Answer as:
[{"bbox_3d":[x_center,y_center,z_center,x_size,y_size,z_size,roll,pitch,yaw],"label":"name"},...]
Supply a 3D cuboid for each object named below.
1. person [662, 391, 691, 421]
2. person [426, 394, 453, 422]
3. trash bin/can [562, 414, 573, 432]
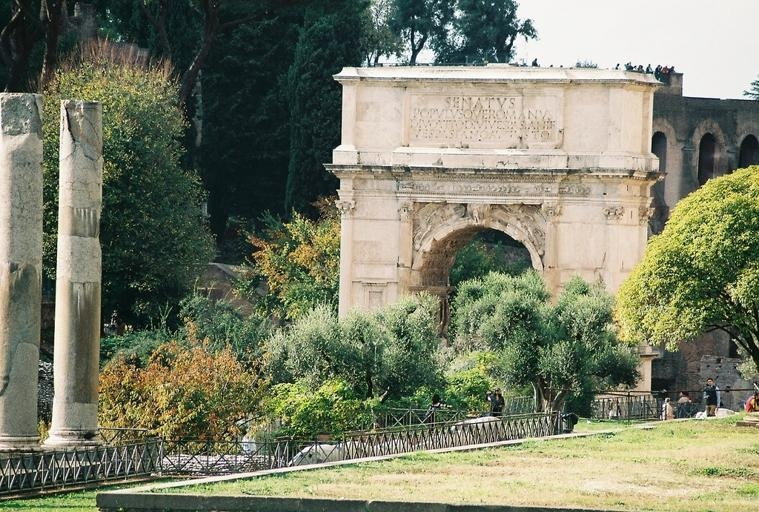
[{"bbox_3d":[10.908,5.254,79.707,0.972,1.528,1.548,2,-3,-7],"label":"person"},{"bbox_3d":[1.931,5.029,72.032,0.665,0.982,1.376,-4,-9,11],"label":"person"},{"bbox_3d":[6.192,5.457,71.171,0.512,0.582,0.529,0,-5,8],"label":"trash bin/can"}]
